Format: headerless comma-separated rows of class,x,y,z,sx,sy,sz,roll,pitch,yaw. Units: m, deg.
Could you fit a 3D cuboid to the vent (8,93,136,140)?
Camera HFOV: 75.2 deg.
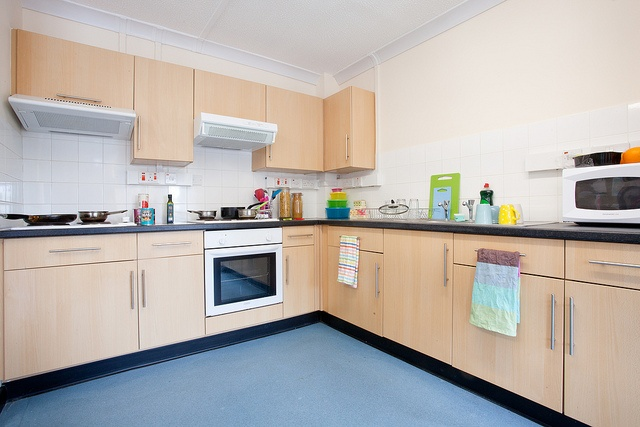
vent,-2.146,-0.838,3.675,0.908,0.319,0.467,-1,1,-26

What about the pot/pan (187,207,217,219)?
pot/pan,-1.199,-0.007,4.231,0.230,0.076,0.124,0,0,-20

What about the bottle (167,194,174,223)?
bottle,-1.481,-0.050,4.096,0.076,0.221,0.313,-1,1,-20

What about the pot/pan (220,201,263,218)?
pot/pan,-0.826,-0.034,4.363,0.430,0.161,0.173,-1,-3,-2

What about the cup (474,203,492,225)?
cup,1.328,0.005,3.383,0.163,0.160,0.128,2,-3,-9

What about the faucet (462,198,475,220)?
faucet,1.338,-0.035,3.743,0.104,0.190,0.312,-1,1,19

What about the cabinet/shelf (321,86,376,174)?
cabinet/shelf,0.312,-0.936,4.666,0.620,0.887,0.323,-1,1,8

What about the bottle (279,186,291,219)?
bottle,-0.383,-0.100,4.622,0.140,0.315,0.134,-1,1,0

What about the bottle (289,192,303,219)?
bottle,-0.270,-0.087,4.678,0.116,0.288,0.112,-1,1,0

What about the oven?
oven,-0.831,0.521,4.191,0.804,0.803,0.612,-3,5,-31

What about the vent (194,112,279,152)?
vent,-0.916,-0.815,4.373,0.895,0.192,0.628,-1,-8,-31

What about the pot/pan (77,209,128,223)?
pot/pan,-1.966,0.024,3.697,0.330,0.085,0.185,2,-4,-31

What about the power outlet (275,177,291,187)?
power outlet,-0.405,-0.368,4.833,0.174,0.097,0.051,-1,-1,-25

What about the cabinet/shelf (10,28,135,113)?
cabinet/shelf,-2.207,-1.427,3.785,1.011,0.534,0.601,3,-41,-26

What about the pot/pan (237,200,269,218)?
pot/pan,-0.709,-0.039,4.408,0.131,0.175,0.319,-4,-7,26

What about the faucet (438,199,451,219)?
faucet,1.162,-0.037,3.887,0.115,0.184,0.249,-1,1,17
